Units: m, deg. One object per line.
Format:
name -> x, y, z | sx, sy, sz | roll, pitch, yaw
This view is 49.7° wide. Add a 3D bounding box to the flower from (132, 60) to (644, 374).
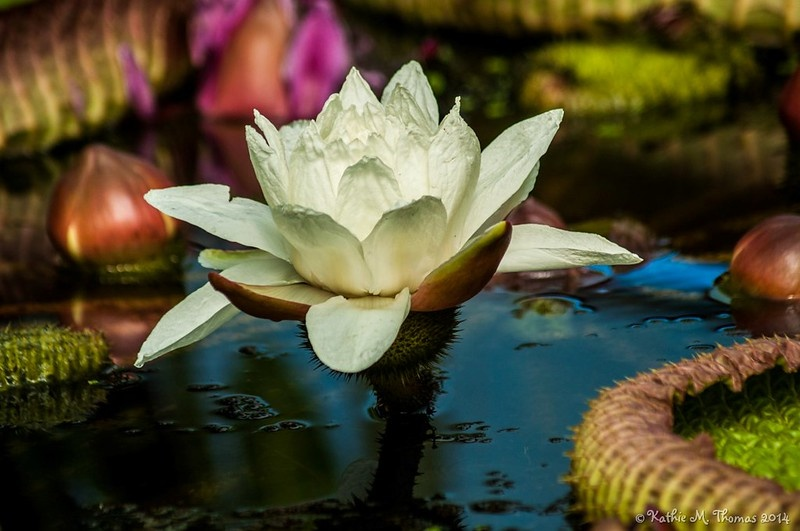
flower -> 0.044, 0.019, 1.692 | 0.816, 0.290, 0.648 | -17, 25, -1
